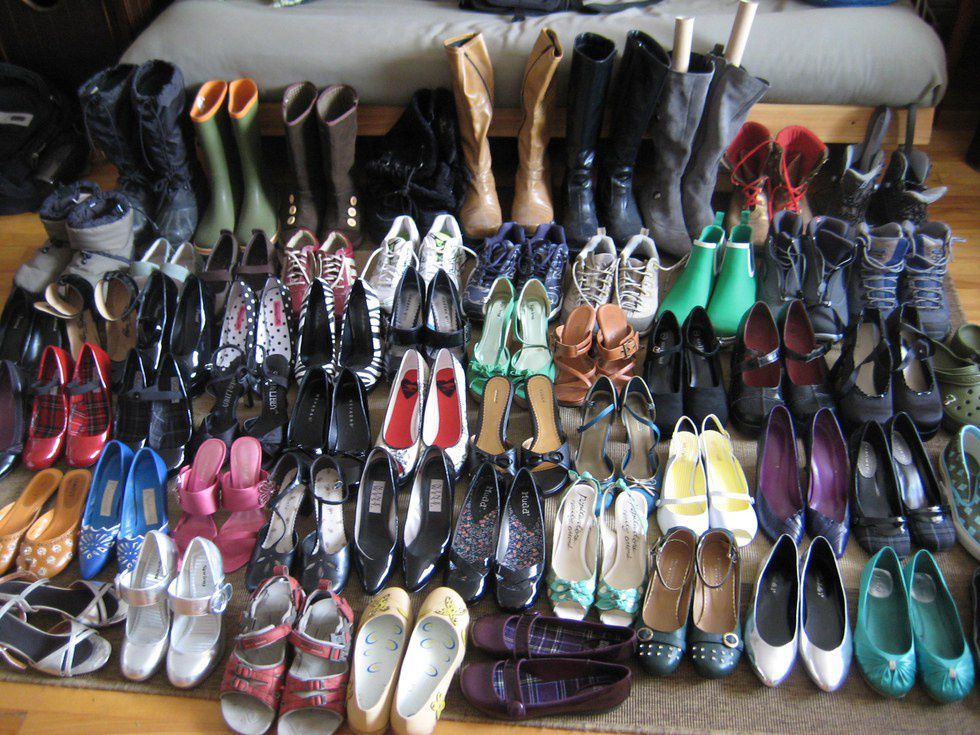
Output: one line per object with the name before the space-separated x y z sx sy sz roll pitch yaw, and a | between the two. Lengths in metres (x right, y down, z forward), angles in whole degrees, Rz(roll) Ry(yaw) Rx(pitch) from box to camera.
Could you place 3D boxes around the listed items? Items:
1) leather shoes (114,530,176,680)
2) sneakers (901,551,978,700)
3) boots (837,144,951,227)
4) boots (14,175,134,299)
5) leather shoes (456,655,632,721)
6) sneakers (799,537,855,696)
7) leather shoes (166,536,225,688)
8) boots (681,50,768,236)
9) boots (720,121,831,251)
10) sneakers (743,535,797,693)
leather shoes | -0.989 0.708 2.391 0.133 0.442 0.154 0 -27 -9
sneakers | 1.269 0.731 2.295 0.161 0.395 0.181 0 -2 -36
boots | 1.609 -0.725 3.270 0.299 0.450 0.172 4 -33 0
boots | -1.588 -0.517 3.190 0.298 0.551 0.249 13 -36 -3
leather shoes | 0.141 0.893 2.245 0.480 0.208 0.151 -2 -19 1
sneakers | 0.982 0.706 2.351 0.136 0.419 0.232 -1 -2 25
leather shoes | -0.857 0.704 2.383 0.147 0.425 0.141 0 -26 -10
boots | 0.930 -0.900 3.219 0.171 0.705 0.371 0 -2 -17
boots | 1.168 -0.807 3.340 0.390 0.560 0.225 1 -12 10
sneakers | 0.833 0.684 2.388 0.137 0.459 0.180 7 -33 19
